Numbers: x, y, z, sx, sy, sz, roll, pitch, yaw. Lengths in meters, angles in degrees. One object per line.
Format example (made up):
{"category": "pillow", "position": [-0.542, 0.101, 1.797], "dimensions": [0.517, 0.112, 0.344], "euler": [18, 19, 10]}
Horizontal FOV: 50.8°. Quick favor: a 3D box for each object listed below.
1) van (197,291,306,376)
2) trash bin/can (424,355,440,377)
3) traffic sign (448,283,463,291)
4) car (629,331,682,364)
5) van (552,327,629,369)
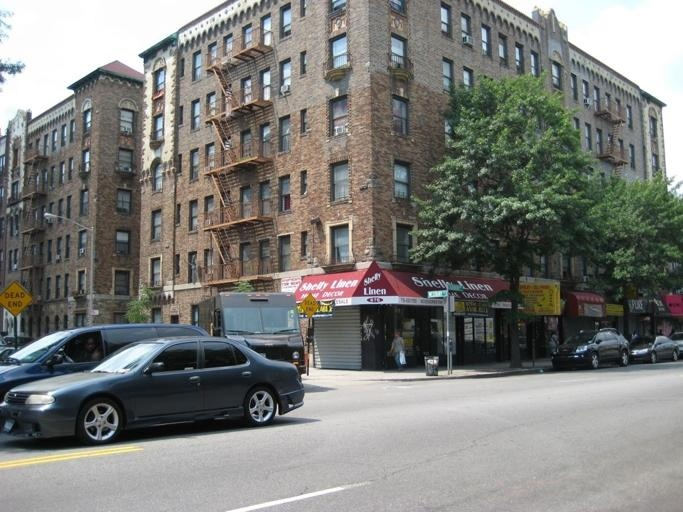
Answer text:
{"category": "van", "position": [-3.006, 2.475, 24.119], "dimensions": [1.921, 1.874, 3.597], "euler": [2, -13, -18]}
{"category": "trash bin/can", "position": [3.782, 4.632, 30.247], "dimensions": [0.481, 0.841, 1.627], "euler": [-2, -10, 5]}
{"category": "traffic sign", "position": [5.035, 1.416, 31.646], "dimensions": [0.595, 0.155, 0.653], "euler": [-1, 1, -6]}
{"category": "car", "position": [17.230, 5.174, 39.863], "dimensions": [1.312, 1.541, 4.545], "euler": [-10, -14, 41]}
{"category": "van", "position": [11.981, 4.416, 34.518], "dimensions": [4.186, 1.592, 1.763], "euler": [13, -19, -43]}
